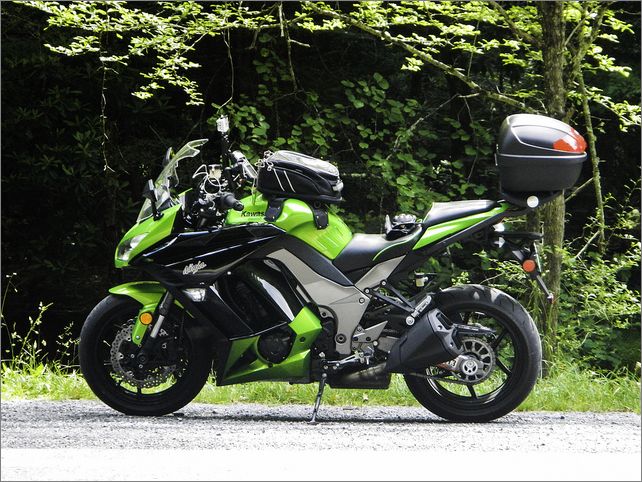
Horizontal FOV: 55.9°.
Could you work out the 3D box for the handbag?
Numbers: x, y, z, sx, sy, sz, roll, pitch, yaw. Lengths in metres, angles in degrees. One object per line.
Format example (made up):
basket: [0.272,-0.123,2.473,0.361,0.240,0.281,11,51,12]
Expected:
handbag: [-0.161,-0.376,4.234,0.728,0.444,0.484,1,16,0]

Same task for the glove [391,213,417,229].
glove: [0.605,-0.155,4.270,0.131,0.044,0.129,10,18,21]
